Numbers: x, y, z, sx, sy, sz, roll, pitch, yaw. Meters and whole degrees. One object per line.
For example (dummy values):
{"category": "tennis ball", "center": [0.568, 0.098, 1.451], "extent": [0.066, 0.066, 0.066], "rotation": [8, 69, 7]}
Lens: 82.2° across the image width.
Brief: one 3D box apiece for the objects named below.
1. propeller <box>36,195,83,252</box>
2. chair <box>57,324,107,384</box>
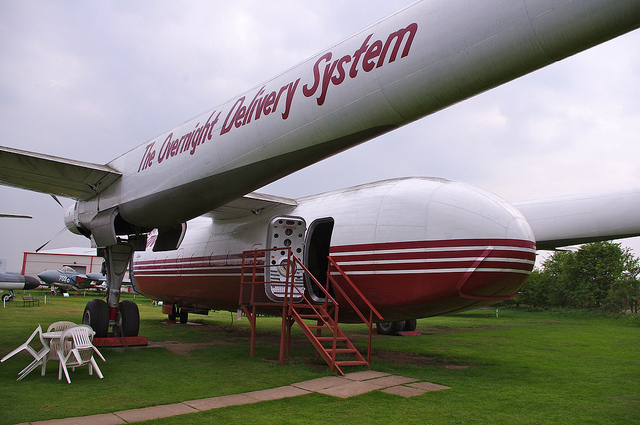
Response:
{"category": "propeller", "center": [-9.134, 0.183, 13.306], "extent": [1.096, 1.410, 2.329], "rotation": [10, -14, -31]}
{"category": "chair", "center": [-5.899, 3.404, 8.878], "extent": [0.927, 0.980, 1.127], "rotation": [-8, 1, 20]}
